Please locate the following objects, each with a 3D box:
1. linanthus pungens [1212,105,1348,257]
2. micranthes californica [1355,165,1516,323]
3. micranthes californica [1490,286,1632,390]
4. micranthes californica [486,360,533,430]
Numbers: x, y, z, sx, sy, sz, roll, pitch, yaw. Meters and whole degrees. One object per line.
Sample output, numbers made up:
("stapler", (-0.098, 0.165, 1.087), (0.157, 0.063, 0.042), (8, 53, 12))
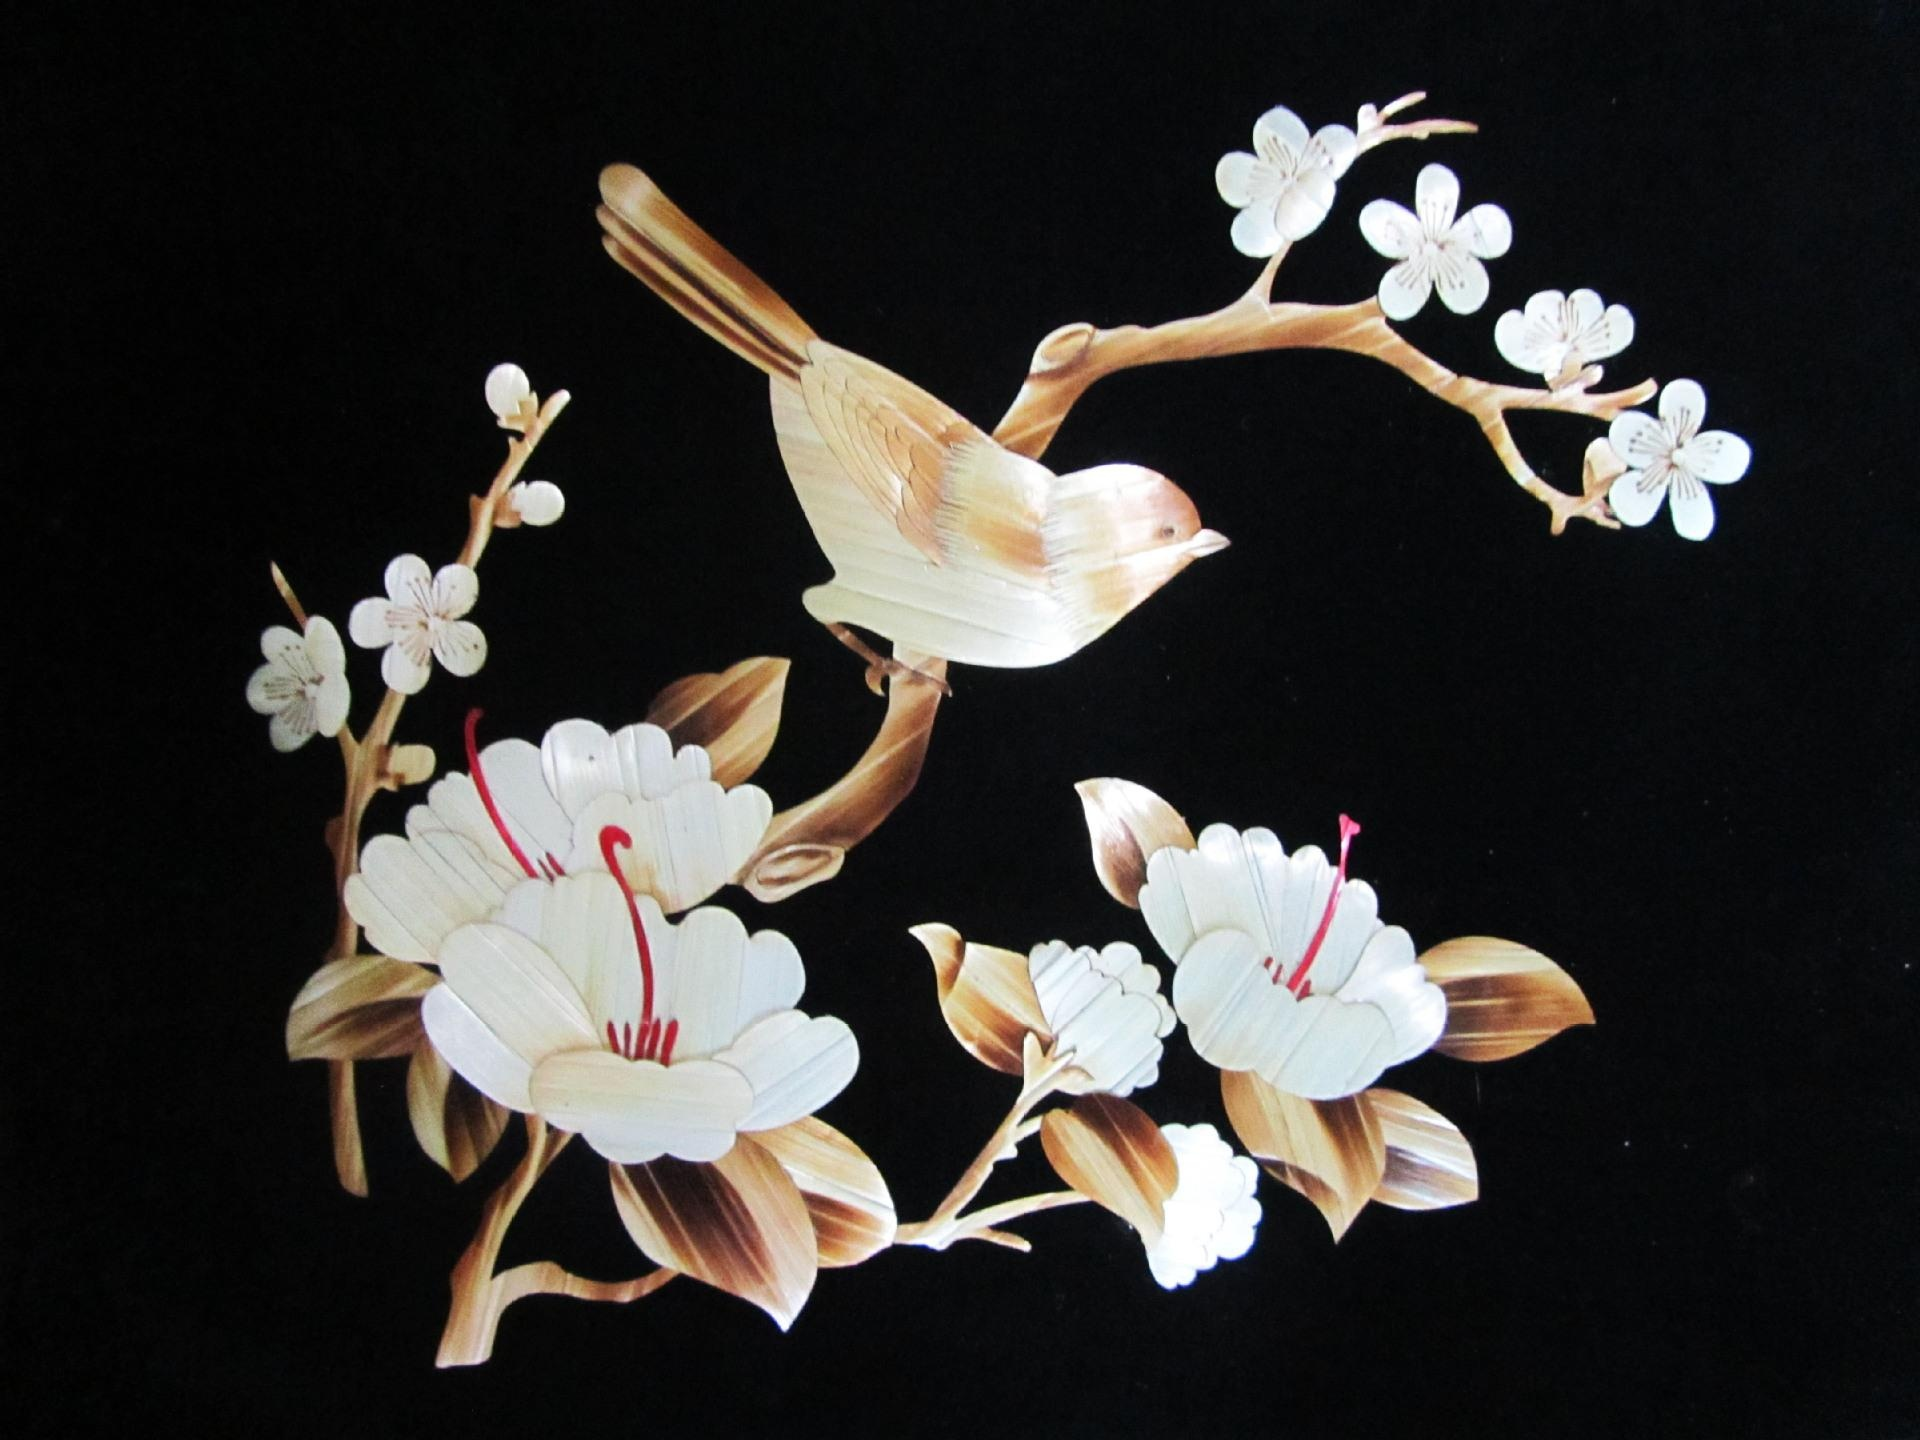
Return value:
("linanthus pungens", (0.365, -0.607, 3.457), (0.133, 0.176, 0.082), (-18, 6, 9))
("micranthes californica", (0.537, -0.536, 3.456), (0.166, 0.165, 0.037), (1, 13, -4))
("micranthes californica", (0.685, -0.431, 3.452), (0.103, 0.138, 0.045), (-6, 7, 4))
("micranthes californica", (-0.513, -0.368, 3.486), (0.046, 0.076, 0.044), (-18, 10, -2))
